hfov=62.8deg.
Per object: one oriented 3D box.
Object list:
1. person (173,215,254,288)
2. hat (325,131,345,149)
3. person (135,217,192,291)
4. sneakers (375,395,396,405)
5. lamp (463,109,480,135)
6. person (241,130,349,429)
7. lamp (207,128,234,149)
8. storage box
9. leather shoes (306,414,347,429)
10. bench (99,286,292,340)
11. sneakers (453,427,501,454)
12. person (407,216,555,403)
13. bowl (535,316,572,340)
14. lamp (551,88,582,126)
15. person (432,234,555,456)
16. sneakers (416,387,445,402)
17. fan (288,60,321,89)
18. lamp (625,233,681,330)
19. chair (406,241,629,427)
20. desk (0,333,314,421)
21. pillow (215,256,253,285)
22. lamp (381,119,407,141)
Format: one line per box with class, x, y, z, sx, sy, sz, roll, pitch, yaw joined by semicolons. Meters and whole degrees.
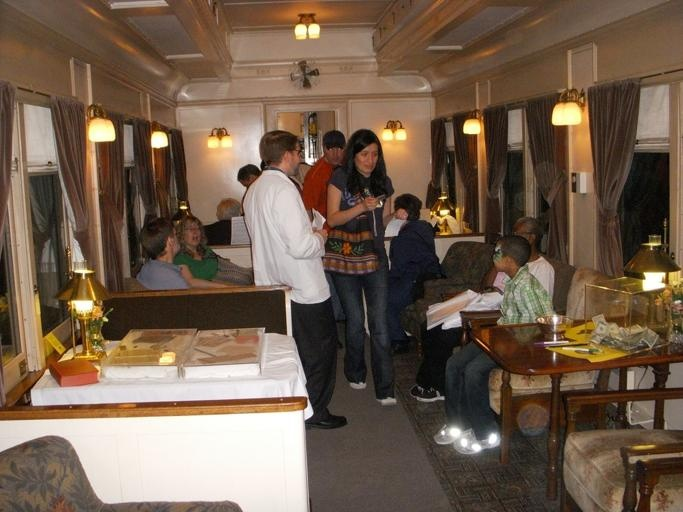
person;-1.407;-0.048;6.042;0.855;0.956;0.705;-3;14;-7
hat;-0.074;-1.036;4.999;0.134;0.106;0.185;0;6;-4
person;-1.572;-0.001;4.911;0.385;0.654;0.720;-14;22;-37
sneakers;0.411;1.337;5.207;0.208;0.088;0.070;1;6;2
lamp;2.187;-2.216;9.335;0.253;0.354;0.717;0;9;16
person;-0.412;0.215;4.729;0.871;2.413;0.693;6;9;40
lamp;-2.540;-2.468;11.673;0.397;0.345;0.160;-1;21;-6
storage box;2.010;0.369;3.995;0.495;0.486;0.495;-2;3;-25
leather shoes;-0.139;1.400;4.868;0.366;0.164;0.130;-2;4;-5
bench;-1.181;0.448;4.904;1.328;0.466;0.582;-1;-12;-4
sneakers;1.036;1.466;4.456;0.412;0.175;0.142;-15;30;8
person;1.255;0.675;5.648;1.148;1.617;1.153;4;6;-23
bowl;1.547;0.514;4.078;0.177;0.101;0.194;-1;-4;0
lamp;2.651;-1.749;6.517;0.322;0.439;0.749;2;10;23
person;1.212;0.677;4.574;0.951;1.636;0.736;-4;-2;9
sneakers;0.830;1.324;5.317;0.283;0.122;0.109;-2;17;3
fan;-0.762;-3.647;11.268;0.525;0.531;0.189;-3;20;-1
lamp;2.217;0.095;3.987;0.435;0.546;0.400;3;4;8
chair;1.422;0.761;6.226;1.507;1.916;1.623;0;7;-3
desk;-0.963;0.743;3.238;1.494;0.309;0.781;-3;9;-7
pillow;-1.187;0.194;6.367;0.403;0.169;0.309;7;15;-42
lamp;1.077;-2.653;11.754;0.435;0.366;0.167;1;23;3
